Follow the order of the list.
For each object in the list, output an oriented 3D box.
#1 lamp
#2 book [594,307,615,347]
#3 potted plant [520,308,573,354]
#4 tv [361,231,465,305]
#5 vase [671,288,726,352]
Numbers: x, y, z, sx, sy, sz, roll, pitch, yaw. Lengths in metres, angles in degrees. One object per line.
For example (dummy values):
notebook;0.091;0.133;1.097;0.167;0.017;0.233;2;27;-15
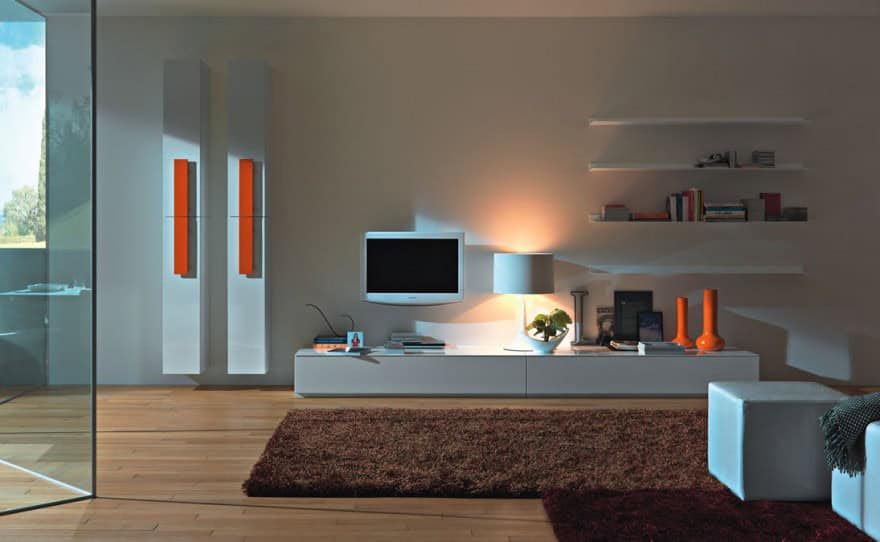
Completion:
lamp;0.789;0.299;6.962;0.591;0.926;0.363;1;-1;4
book;1.620;0.538;7.109;0.168;0.384;0.093;0;-1;10
potted plant;1.003;0.573;6.845;0.463;0.276;0.432;-2;-8;10
tv;-0.262;-0.024;6.990;0.809;0.512;0.104;0;-1;3
vase;2.480;0.464;6.965;0.481;0.601;0.442;0;-1;11
